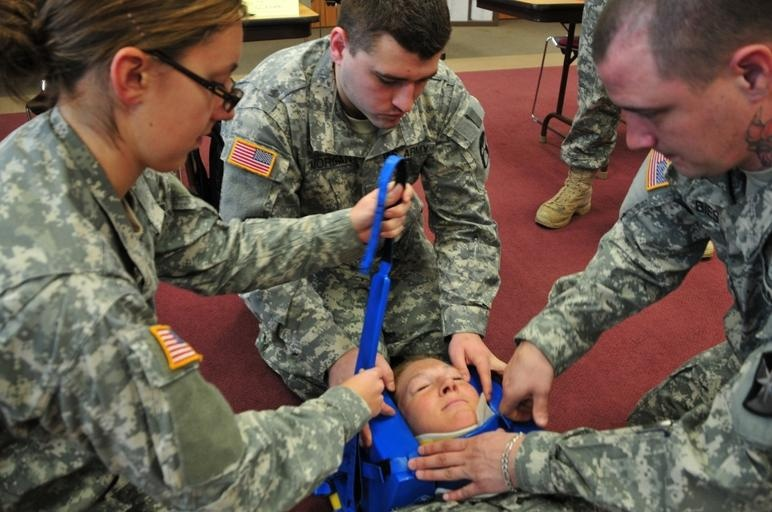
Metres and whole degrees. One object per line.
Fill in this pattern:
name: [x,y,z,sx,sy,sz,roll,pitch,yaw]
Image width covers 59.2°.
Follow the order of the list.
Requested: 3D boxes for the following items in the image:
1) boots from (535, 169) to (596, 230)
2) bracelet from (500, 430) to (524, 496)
boots: [1.019,-0.344,3.842,0.410,0.297,0.138,-21,30,-28]
bracelet: [0.378,0.609,2.056,0.031,0.132,0.098,6,9,30]
